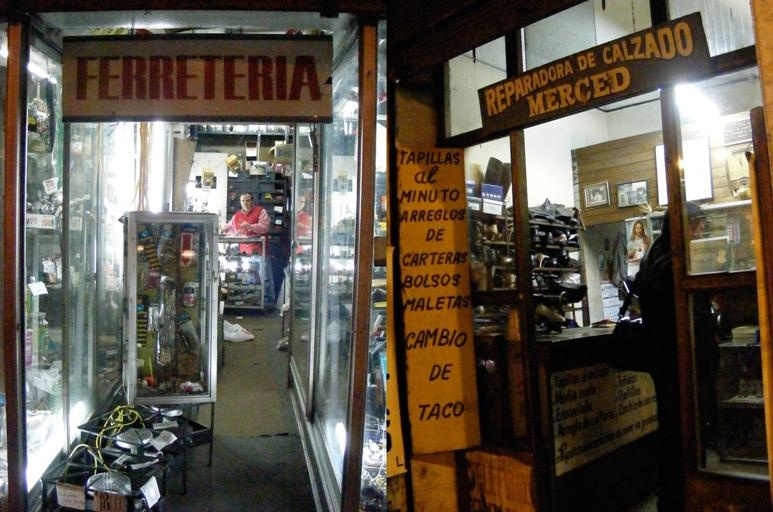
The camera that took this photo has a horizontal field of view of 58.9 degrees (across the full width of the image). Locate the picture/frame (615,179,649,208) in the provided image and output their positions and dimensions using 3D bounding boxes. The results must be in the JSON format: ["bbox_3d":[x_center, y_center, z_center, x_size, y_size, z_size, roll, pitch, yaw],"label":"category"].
[{"bbox_3d":[2.163,-0.550,6.002,0.023,0.210,0.282,0,-1,-27],"label":"picture/frame"}]

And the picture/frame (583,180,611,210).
[{"bbox_3d":[1.977,-0.578,6.385,0.021,0.240,0.281,1,-3,-34],"label":"picture/frame"}]

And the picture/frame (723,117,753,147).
[{"bbox_3d":[2.301,-0.816,4.469,0.222,0.191,0.039,1,-7,15],"label":"picture/frame"}]

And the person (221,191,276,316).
[{"bbox_3d":[-2.623,-0.070,12.936,0.923,2.162,1.358,0,-4,-10],"label":"person"}]

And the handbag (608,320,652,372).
[{"bbox_3d":[1.883,0.740,5.287,0.263,0.458,0.252,-2,-42,22],"label":"handbag"}]
